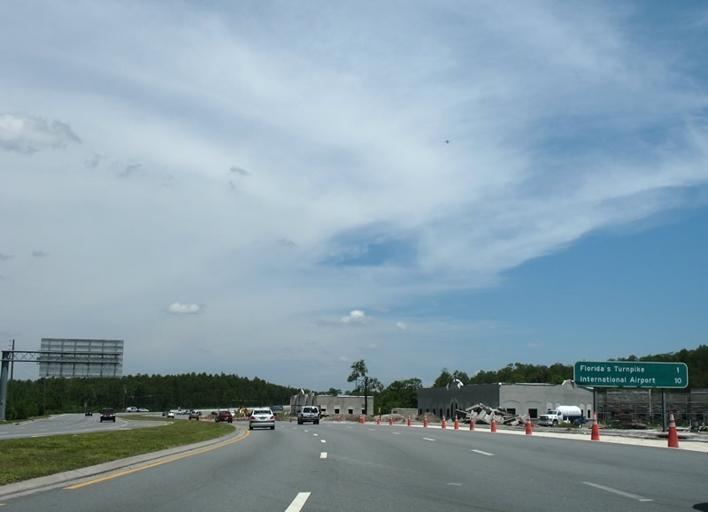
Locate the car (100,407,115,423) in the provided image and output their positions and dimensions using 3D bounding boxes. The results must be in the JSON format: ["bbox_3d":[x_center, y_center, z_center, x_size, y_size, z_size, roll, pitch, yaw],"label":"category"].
[{"bbox_3d":[-30.295,19.794,87.042,1.808,1.596,3.437,2,-9,-16],"label":"car"}]

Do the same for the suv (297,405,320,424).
[{"bbox_3d":[-4.525,15.933,70.458,1.656,1.429,2.927,3,-8,-9],"label":"suv"}]
